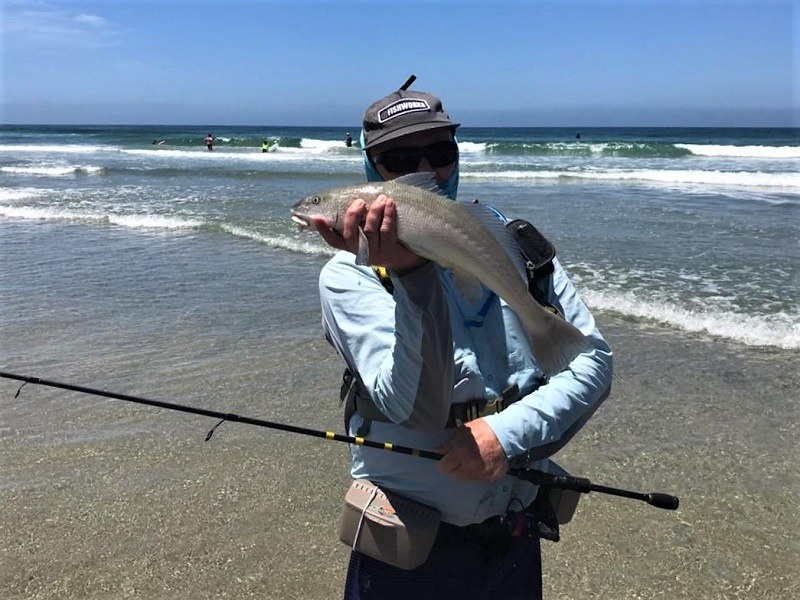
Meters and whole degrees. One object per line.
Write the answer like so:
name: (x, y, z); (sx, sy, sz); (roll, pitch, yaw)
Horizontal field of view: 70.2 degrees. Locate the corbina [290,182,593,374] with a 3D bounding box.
corbina: (0.185, -0.202, 2.603); (1.520, 0.554, 0.331); (34, 32, 17)
